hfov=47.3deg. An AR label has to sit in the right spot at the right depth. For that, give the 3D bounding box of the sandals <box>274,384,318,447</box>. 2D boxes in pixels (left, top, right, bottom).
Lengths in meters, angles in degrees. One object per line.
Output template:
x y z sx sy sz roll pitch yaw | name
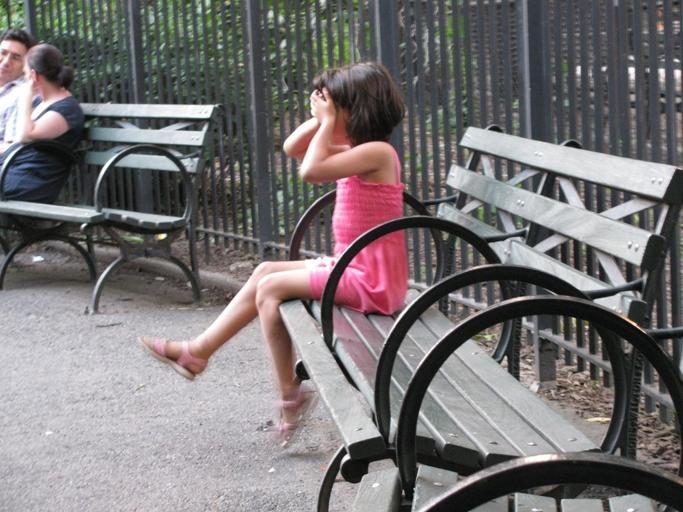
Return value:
-0.217 0.699 3.443 0.145 0.353 0.118 5 31 -22 | sandals

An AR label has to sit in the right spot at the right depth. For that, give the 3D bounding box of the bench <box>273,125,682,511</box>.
0.529 0.228 2.920 1.022 1.011 1.446 -4 9 -17 | bench
